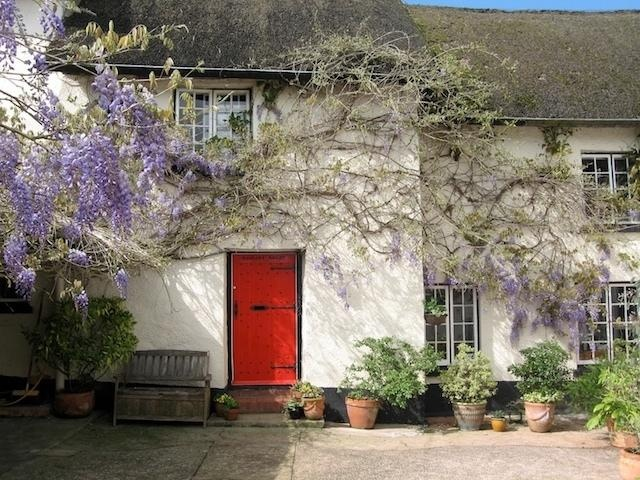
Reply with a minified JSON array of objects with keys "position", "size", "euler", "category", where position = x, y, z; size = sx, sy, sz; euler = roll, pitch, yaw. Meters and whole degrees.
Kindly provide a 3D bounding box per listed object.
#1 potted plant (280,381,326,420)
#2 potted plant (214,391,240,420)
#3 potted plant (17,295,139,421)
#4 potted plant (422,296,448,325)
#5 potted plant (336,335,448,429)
[{"position":[-0.230,2.771,10.777],"size":[0.591,0.689,0.623],"euler":[2,-12,-6],"category":"potted plant"},{"position":[-1.609,2.889,10.797],"size":[0.449,0.376,0.243],"euler":[3,4,39],"category":"potted plant"},{"position":[-4.130,1.997,10.717],"size":[1.814,2.061,0.909],"euler":[2,3,11],"category":"potted plant"},{"position":[2.161,1.317,11.609],"size":[0.444,0.509,0.449],"euler":[2,-8,-12],"category":"potted plant"},{"position":[1.210,2.468,10.711],"size":[1.586,1.565,0.852],"euler":[1,3,6],"category":"potted plant"}]
